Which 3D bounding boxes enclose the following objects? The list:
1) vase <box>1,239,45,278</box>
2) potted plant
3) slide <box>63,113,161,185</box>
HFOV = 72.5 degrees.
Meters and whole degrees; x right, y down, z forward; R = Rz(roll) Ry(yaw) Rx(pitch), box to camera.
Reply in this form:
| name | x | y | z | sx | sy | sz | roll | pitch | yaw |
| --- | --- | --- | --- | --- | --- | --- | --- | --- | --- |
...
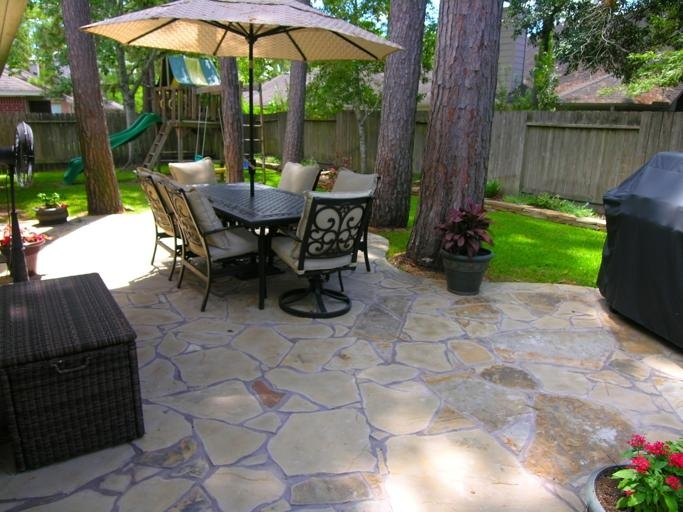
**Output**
| name | x | y | z | sx | sy | sz | roll | pitch | yaw |
| --- | --- | --- | --- | --- | --- | --- | --- | --- | --- |
| vase | -3.498 | 0.027 | 5.043 | 0.401 | 0.281 | 0.397 | 9 | 13 | 38 |
| potted plant | 1.504 | -0.089 | 5.653 | 0.698 | 1.021 | 0.670 | 1 | 7 | -19 |
| slide | -6.514 | -3.134 | 13.478 | 3.372 | 0.622 | 0.585 | -38 | 51 | -9 |
